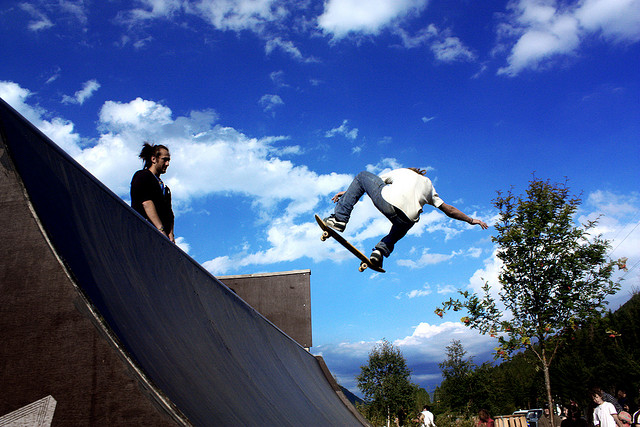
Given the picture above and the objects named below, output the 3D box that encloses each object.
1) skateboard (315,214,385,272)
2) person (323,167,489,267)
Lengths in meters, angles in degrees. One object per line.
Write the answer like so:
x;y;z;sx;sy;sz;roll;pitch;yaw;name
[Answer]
0.407;0.359;6.008;0.991;0.166;0.219;38;-29;4;skateboard
1.011;-0.001;6.959;1.847;1.342;0.624;-7;-21;4;person
